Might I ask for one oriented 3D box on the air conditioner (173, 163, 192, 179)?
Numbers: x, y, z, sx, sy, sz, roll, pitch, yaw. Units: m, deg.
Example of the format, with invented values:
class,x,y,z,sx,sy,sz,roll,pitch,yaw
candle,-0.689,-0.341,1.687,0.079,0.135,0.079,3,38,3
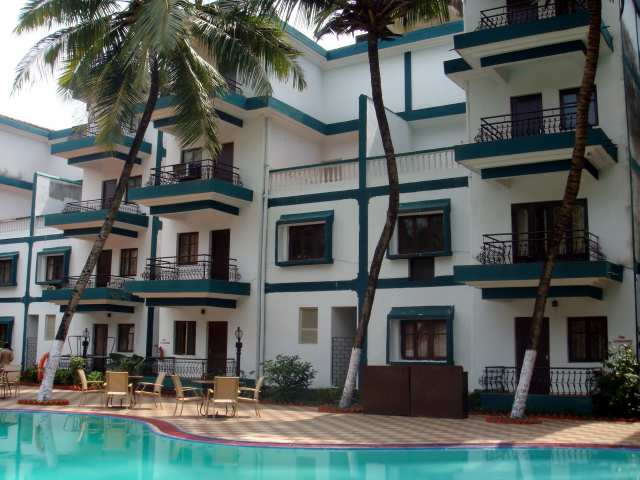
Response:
class,x,y,z,sx,sy,sz,roll,pitch,yaw
air conditioner,-6.436,-3.200,31.258,0.780,0.708,1.164,1,-4,-22
